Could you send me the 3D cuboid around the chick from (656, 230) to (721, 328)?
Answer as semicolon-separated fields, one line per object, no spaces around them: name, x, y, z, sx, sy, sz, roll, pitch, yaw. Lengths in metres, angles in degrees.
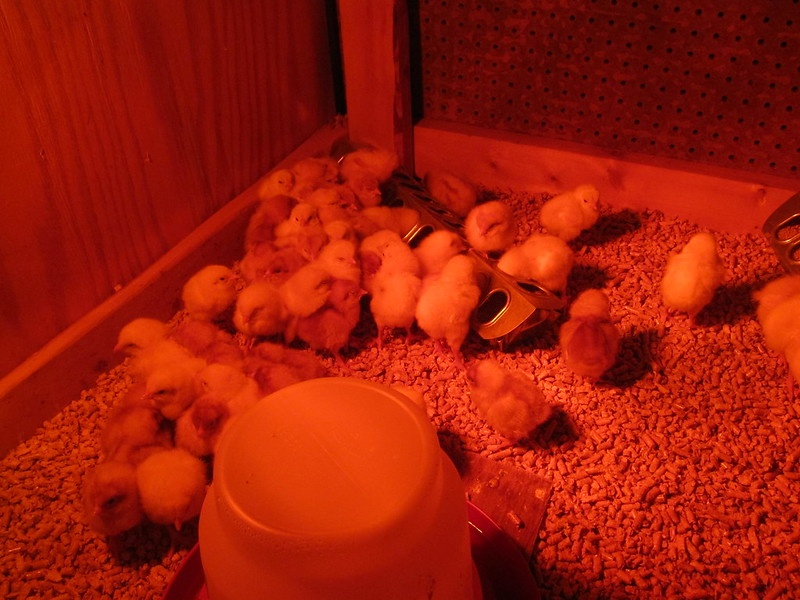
chick;0.959;-0.072;1.947;0.083;0.270;0.184;-11;39;-38

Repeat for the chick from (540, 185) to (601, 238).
chick;0.622;-0.320;2.236;0.141;0.220;0.167;-19;69;-40

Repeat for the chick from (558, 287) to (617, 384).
chick;0.600;0.081;1.882;0.145;0.092;0.295;-3;62;28
